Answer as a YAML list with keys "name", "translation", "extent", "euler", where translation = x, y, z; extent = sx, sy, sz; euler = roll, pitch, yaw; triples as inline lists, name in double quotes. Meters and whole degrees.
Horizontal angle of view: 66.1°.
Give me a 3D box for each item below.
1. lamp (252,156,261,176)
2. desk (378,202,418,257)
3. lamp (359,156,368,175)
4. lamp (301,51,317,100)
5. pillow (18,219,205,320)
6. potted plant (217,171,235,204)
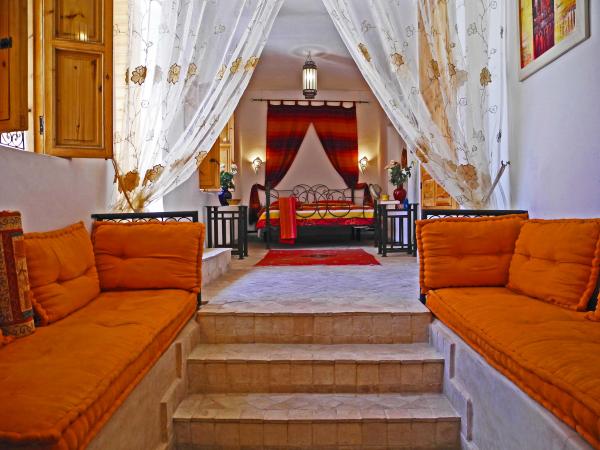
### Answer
- name: "lamp"
  translation: [-0.864, -1.217, 9.502]
  extent: [0.231, 0.357, 0.153]
  euler: [-1, 10, -10]
- name: "desk"
  translation: [1.251, 0.017, 5.978]
  extent: [0.590, 0.820, 0.662]
  euler: [3, 4, 25]
- name: "lamp"
  translation: [1.340, -1.254, 9.657]
  extent: [0.244, 0.288, 0.081]
  euler: [-6, -6, -14]
- name: "lamp"
  translation: [0.176, -2.381, 7.361]
  extent: [0.204, 0.672, 0.371]
  euler: [2, 10, 7]
- name: "pillow"
  translation: [-1.098, 0.217, 2.824]
  extent: [0.604, 0.300, 0.553]
  euler: [6, 4, 28]
- name: "potted plant"
  translation: [-1.061, -0.519, 6.668]
  extent: [0.223, 0.506, 0.739]
  euler: [-1, 10, -10]
